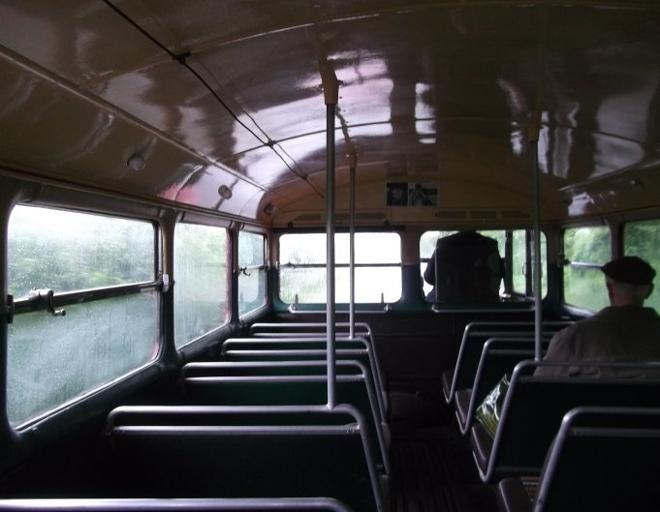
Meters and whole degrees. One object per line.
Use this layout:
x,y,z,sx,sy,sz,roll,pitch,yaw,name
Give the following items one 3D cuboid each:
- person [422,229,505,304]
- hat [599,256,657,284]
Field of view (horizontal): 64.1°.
1.989,0.362,7.511,1.225,1.245,1.046,1,-26,12,person
2.211,0.107,3.968,0.241,0.110,0.249,-1,19,-14,hat
